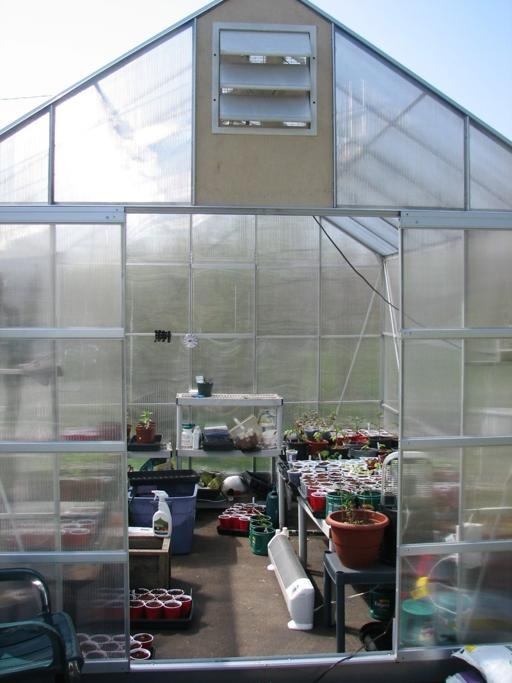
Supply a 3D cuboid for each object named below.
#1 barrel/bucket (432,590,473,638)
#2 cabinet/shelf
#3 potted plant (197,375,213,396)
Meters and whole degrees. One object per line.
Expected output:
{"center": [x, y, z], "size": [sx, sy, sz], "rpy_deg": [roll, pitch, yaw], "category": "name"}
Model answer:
{"center": [0.882, 1.219, 3.784], "size": [0.202, 0.249, 0.210], "rpy_deg": [-3, -7, 0], "category": "barrel/bucket"}
{"center": [-0.197, 0.728, 7.327], "size": [1.069, 1.102, 0.772], "rpy_deg": [0, 1, -6], "category": "cabinet/shelf"}
{"center": [-0.450, 0.379, 7.155], "size": [0.131, 0.161, 0.161], "rpy_deg": [-1, -4, -1], "category": "potted plant"}
